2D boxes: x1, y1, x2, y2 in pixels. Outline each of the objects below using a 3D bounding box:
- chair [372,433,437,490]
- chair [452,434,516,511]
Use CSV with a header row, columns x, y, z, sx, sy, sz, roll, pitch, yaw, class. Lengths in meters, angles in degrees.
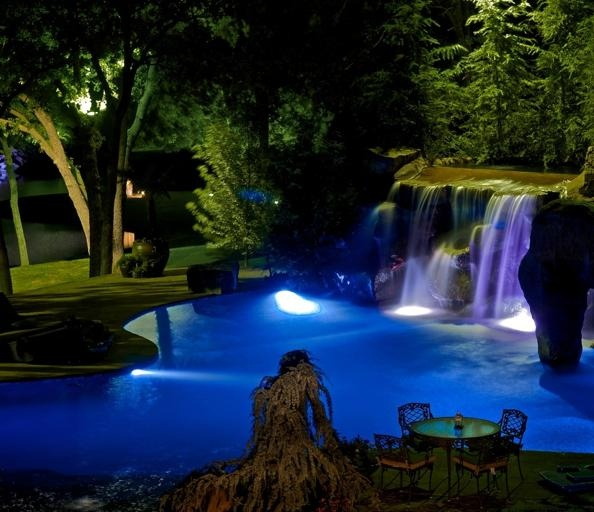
x,y,z,sx,sy,sz,roll,pitch,yaw,class
1.405,2.616,7.516,0.600,0.737,0.619,-9,-6,36,chair
2.187,2.631,7.503,0.529,0.730,0.527,-6,-13,-38,chair
